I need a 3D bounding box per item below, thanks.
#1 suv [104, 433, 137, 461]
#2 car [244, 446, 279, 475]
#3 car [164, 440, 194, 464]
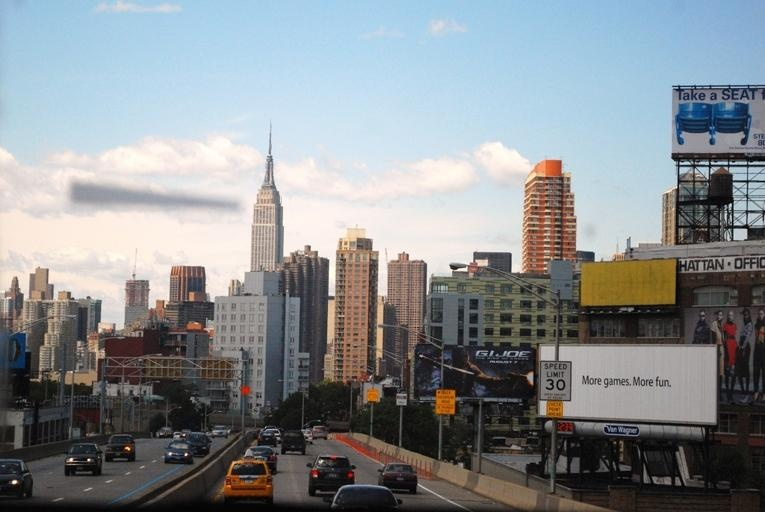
[{"bbox_3d":[-29.658,21.449,169.545,3.086,3.068,2.773,-5,-7,39],"label":"suv"},{"bbox_3d":[-12.368,20.501,151.763,3.305,2.352,6.929,0,4,-5],"label":"car"},{"bbox_3d":[-22.584,21.460,166.175,3.118,2.469,2.224,0,-5,-9],"label":"car"}]
